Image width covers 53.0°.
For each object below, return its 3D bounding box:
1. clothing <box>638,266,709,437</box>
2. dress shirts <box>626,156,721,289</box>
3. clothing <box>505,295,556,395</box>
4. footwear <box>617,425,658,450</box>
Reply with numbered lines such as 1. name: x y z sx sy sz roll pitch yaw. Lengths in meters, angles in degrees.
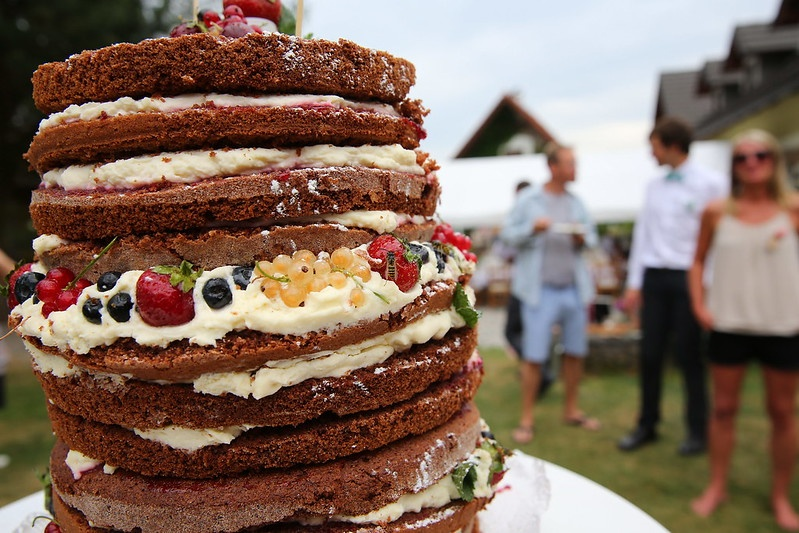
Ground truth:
1. clothing: 2.598 0.877 7.808 0.677 1.753 0.467 2 -15 -14
2. dress shirts: 2.538 -0.380 7.238 0.414 1.141 0.855 -22 34 -31
3. clothing: 1.553 0.973 10.258 0.385 1.047 1.071 -14 -16 33
4. footwear: 2.484 1.803 8.544 0.499 0.208 0.184 -10 12 3
